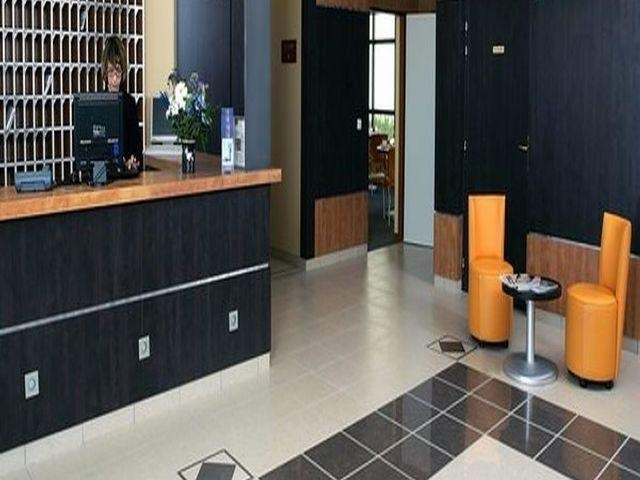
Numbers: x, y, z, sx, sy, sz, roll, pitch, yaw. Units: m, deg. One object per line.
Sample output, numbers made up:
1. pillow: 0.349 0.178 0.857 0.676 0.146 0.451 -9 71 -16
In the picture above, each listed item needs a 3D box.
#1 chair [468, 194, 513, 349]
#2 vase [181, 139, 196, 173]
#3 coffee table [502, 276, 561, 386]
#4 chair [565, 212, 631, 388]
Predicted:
1. chair: 1.619 0.295 5.090 0.412 1.286 0.747 2 15 10
2. vase: -1.020 -0.642 4.177 0.105 0.249 0.112 -4 14 -15
3. coffee table: 1.792 0.738 4.579 0.407 0.821 0.440 -12 14 -27
4. chair: 2.304 0.505 4.479 0.437 1.298 0.594 10 17 37
